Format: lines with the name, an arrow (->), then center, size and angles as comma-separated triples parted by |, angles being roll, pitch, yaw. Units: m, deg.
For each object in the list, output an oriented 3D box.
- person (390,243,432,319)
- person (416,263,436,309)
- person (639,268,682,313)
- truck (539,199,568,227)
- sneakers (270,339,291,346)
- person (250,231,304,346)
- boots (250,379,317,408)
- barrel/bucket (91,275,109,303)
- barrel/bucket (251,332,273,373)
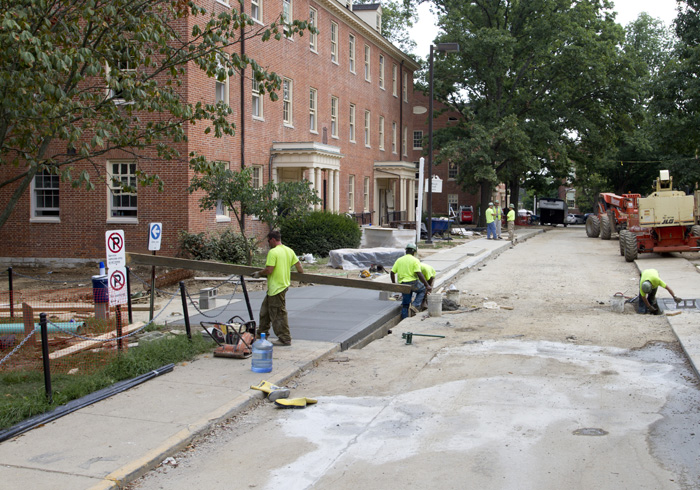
person -> 1.449, 0.965, 15.843 | 0.928, 1.894, 0.773 | -1, 3, 11
person -> 1.876, 1.066, 16.395 | 0.409, 1.119, 0.462 | 7, 3, 32
person -> 7.034, 1.137, 15.161 | 0.625, 1.076, 0.905 | -5, -1, 22
truck -> 21.088, -3.437, 66.674 | 3.587, 3.341, 2.566 | 0, -2, 6
sneakers -> -1.331, 1.880, 12.249 | 0.364, 0.161, 0.136 | 8, 6, 16
person -> -1.382, 0.845, 12.284 | 0.859, 2.115, 0.885 | -5, -1, -7
boots -> -1.018, 2.245, 9.632 | 1.064, 0.459, 0.362 | -4, -1, 23
barrel/bucket -> -5.263, 0.970, 13.661 | 0.275, 0.581, 0.635 | -5, -1, -21
barrel/bucket -> -1.449, 1.776, 10.459 | 0.337, 0.648, 0.583 | -5, -1, -11
